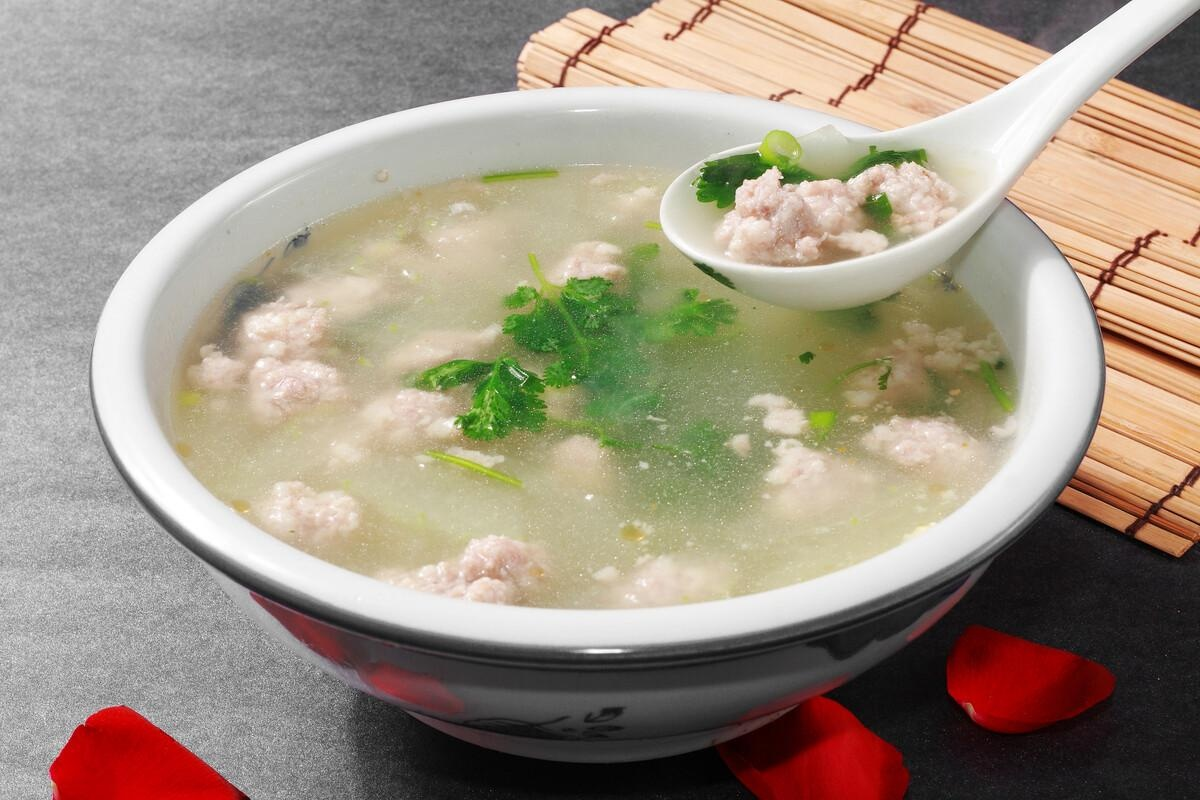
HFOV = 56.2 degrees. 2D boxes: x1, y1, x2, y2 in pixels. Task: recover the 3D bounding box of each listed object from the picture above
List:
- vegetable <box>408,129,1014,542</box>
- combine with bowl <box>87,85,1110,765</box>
[{"bbox_3d":[0.134,-0.153,2.037,1.219,0.687,0.534,-2,99,-3],"label":"vegetable"},{"bbox_3d":[-0.008,-0.073,1.699,1.297,0.368,1.183,-27,68,-14],"label":"combine with bowl"}]
